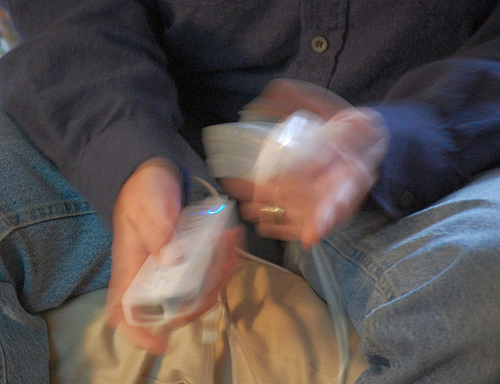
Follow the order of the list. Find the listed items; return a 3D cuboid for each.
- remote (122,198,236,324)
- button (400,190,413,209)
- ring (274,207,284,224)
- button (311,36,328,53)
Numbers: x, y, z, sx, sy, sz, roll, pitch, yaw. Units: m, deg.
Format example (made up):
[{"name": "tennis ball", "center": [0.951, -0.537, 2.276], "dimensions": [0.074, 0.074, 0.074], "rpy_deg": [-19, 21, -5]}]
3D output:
[{"name": "remote", "center": [-0.083, 0.090, 0.657], "dimensions": [0.091, 0.041, 0.174], "rpy_deg": [2, 46, 26]}, {"name": "button", "center": [0.216, 0.010, 0.714], "dimensions": [0.023, 0.024, 0.006], "rpy_deg": [-2, -2, 28]}, {"name": "ring", "center": [0.041, 0.030, 0.706], "dimensions": [0.015, 0.031, 0.016], "rpy_deg": [-1, 32, 0]}, {"name": "button", "center": [0.104, -0.218, 0.771], "dimensions": [0.020, 0.022, 0.008], "rpy_deg": [1, 15, 9]}]
